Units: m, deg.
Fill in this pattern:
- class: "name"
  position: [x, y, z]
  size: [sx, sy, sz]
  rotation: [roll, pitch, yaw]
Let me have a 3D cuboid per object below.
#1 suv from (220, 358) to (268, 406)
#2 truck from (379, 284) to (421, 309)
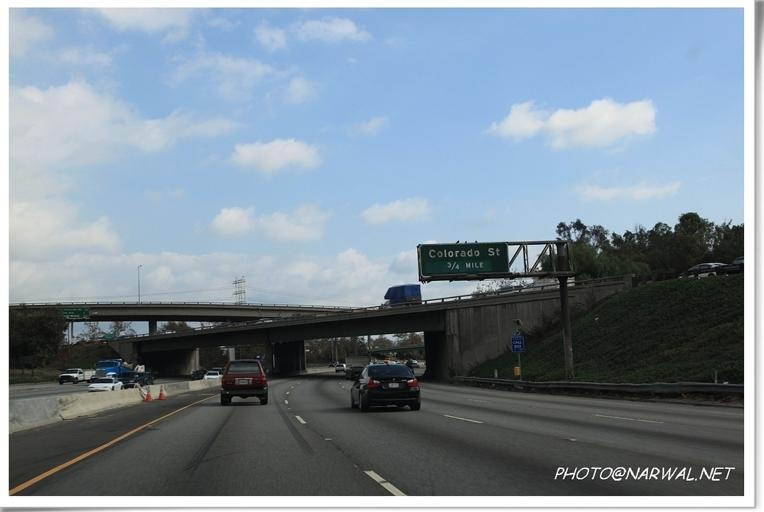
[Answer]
- class: "suv"
  position: [-6.375, 5.826, 31.756]
  size: [1.547, 1.378, 2.789]
  rotation: [0, 0, -3]
- class: "truck"
  position: [2.337, 5.129, 84.709]
  size: [3.424, 3.008, 4.865]
  rotation: [4, -14, -42]
